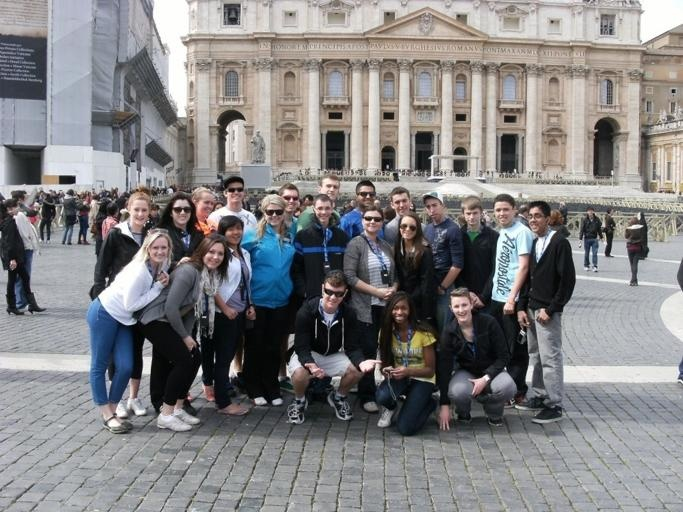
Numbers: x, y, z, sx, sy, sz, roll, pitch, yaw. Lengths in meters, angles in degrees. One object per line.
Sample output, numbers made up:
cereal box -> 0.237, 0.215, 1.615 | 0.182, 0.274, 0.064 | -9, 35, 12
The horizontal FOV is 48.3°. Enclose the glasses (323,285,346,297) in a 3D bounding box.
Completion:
glasses -> -0.085, 0.413, 8.849 | 0.261, 0.131, 0.155 | 1, 6, 11

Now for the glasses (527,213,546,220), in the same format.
glasses -> 2.344, -0.475, 9.167 | 0.104, 0.080, 0.199 | -6, 8, -44
